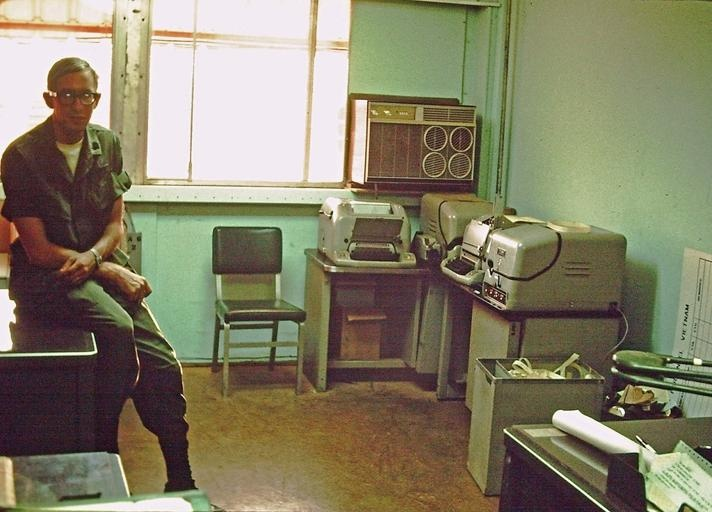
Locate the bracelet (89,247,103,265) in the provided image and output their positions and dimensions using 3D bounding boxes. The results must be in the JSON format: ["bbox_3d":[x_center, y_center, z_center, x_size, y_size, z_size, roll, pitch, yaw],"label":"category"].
[{"bbox_3d":[-1.163,0.000,2.892,0.062,0.064,0.064,-45,15,-10],"label":"bracelet"}]

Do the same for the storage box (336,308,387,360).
[{"bbox_3d":[-0.029,0.543,4.731,0.488,0.440,0.322,1,15,-4],"label":"storage box"}]

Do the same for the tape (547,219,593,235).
[{"bbox_3d":[1.231,-0.167,3.688,0.265,0.036,0.178,3,13,-4],"label":"tape"}]
